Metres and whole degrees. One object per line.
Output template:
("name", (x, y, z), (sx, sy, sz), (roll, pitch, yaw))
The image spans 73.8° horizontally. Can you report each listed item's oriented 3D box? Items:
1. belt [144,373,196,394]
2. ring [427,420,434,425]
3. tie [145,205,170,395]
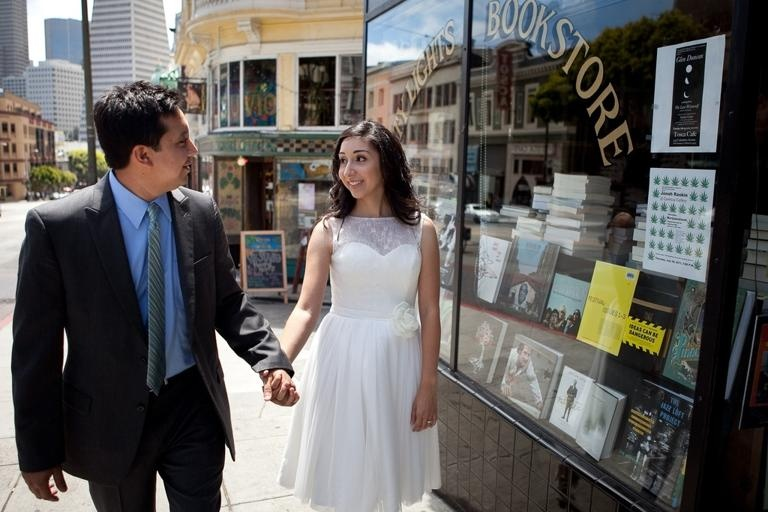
("belt", (-1.086, 0.644, 2.576), (0.113, 0.032, 0.116), (-32, 10, -31))
("ring", (0.266, 0.960, 2.943), (0.030, 0.018, 0.047), (0, -1, -3))
("tie", (-1.131, 0.200, 2.561), (0.068, 1.052, 0.130), (-2, 2, -19))
